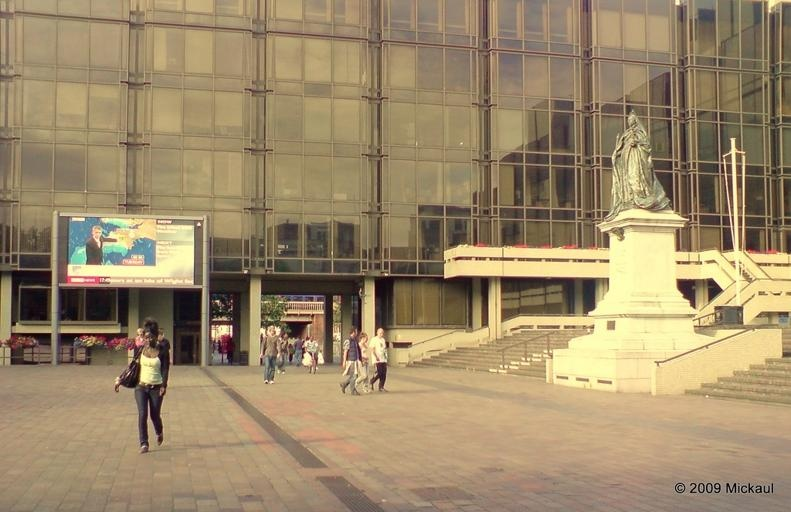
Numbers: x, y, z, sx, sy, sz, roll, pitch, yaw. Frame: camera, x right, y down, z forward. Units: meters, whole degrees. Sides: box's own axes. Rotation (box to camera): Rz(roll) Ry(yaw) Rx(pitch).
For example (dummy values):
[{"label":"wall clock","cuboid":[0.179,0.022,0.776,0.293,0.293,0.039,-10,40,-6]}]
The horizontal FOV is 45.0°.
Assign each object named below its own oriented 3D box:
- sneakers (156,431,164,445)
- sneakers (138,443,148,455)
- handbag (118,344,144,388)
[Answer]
[{"label":"sneakers","cuboid":[-6.990,5.433,28.375,0.183,0.525,0.227,-1,1,-1]},{"label":"sneakers","cuboid":[-7.297,5.614,27.758,0.265,0.265,0.312,1,-5,-11]},{"label":"handbag","cuboid":[-7.838,3.258,28.219,0.660,1.226,0.759,2,-5,-29]}]
